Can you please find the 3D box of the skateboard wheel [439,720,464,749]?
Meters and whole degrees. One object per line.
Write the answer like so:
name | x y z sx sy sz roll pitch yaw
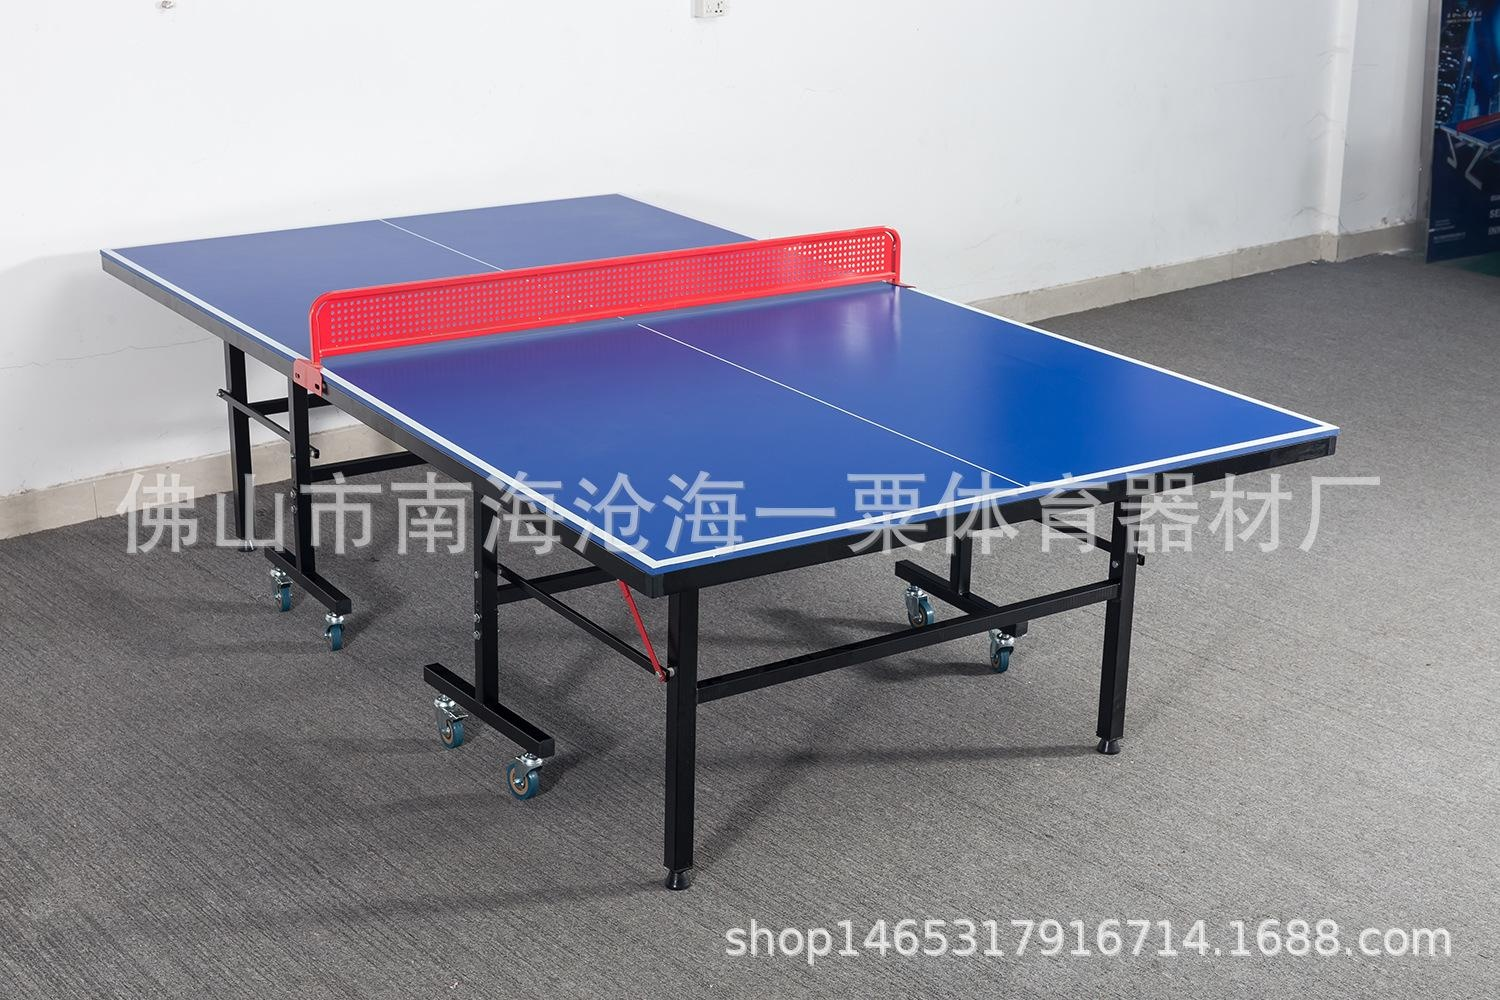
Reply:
skateboard wheel | -0.892 0.699 3.659 0.033 0.070 0.071 -15 29 -40

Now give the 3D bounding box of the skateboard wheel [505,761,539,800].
skateboard wheel | -0.638 0.791 3.446 0.086 0.094 0.073 18 22 34

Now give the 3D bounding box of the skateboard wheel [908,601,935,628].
skateboard wheel | 0.585 0.389 4.166 0.041 0.087 0.089 -5 7 -24
